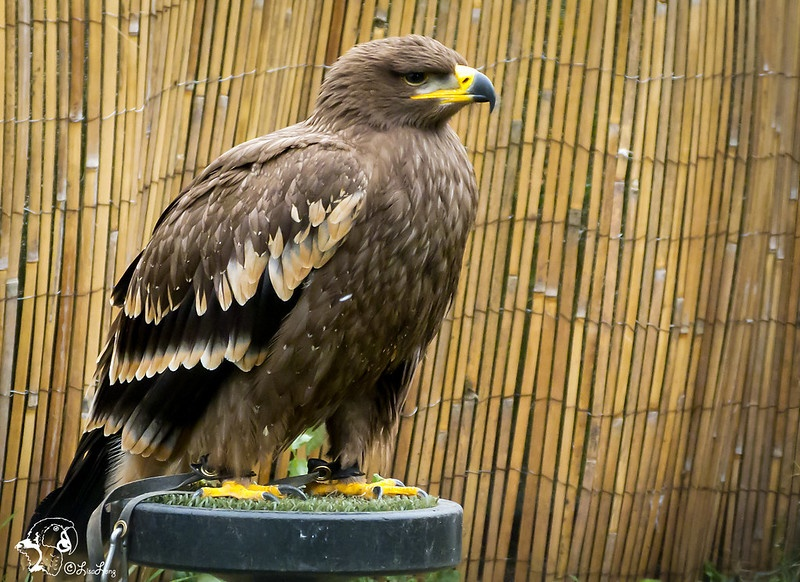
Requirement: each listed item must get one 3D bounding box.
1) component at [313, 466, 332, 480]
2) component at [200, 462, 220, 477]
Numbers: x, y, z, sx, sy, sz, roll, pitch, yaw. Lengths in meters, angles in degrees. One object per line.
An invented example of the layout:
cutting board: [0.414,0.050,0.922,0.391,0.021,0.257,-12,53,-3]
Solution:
component: [-0.327,0.763,6.788,0.058,0.063,0.014,15,-4,-22]
component: [-0.778,0.727,6.607,0.077,0.064,0.078,7,-11,-7]
